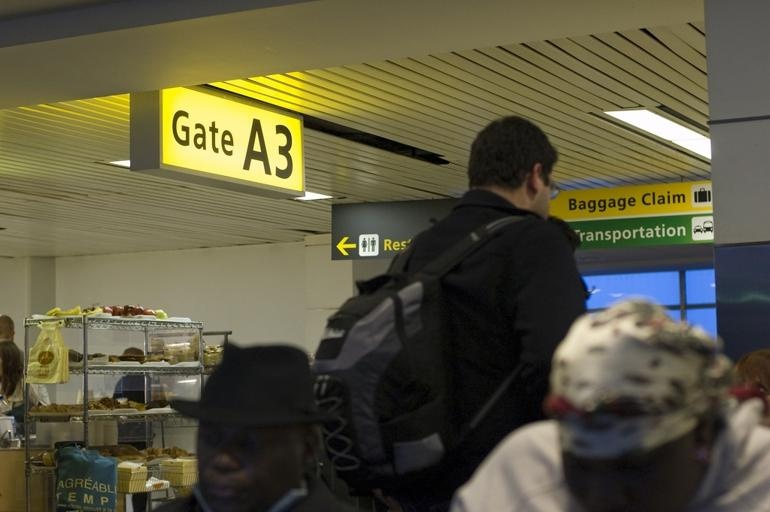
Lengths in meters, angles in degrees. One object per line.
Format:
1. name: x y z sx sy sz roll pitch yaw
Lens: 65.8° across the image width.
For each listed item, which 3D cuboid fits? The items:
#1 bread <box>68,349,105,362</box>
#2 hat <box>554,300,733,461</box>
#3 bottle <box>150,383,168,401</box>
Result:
1. bread: -3.412 1.163 6.872 0.310 0.089 0.270 2 -5 -1
2. hat: 0.338 0.161 0.814 0.197 0.189 0.249 -3 -9 29
3. bottle: -3.091 1.867 8.160 0.258 0.299 0.233 2 -9 -11
